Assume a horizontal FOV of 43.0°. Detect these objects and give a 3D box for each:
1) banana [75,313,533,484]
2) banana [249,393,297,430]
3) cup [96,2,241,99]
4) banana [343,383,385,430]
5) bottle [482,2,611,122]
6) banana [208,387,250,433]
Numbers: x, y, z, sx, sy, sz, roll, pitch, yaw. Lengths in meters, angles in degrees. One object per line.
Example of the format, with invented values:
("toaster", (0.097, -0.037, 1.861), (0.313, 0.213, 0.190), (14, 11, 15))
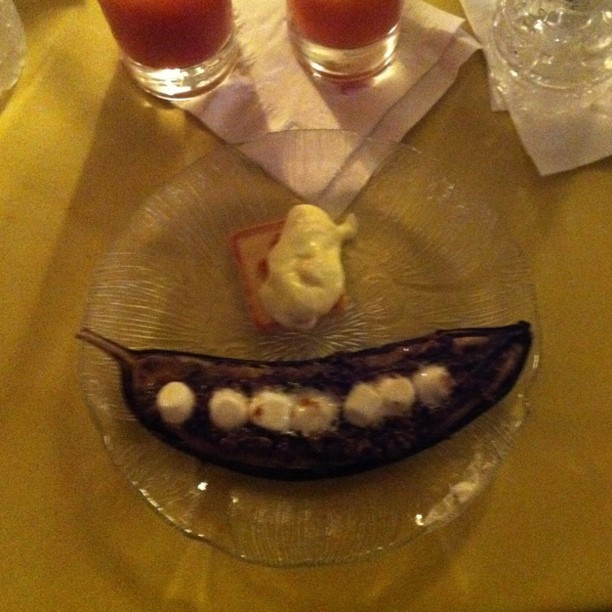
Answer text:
("banana", (-0.015, 0.100, 0.778), (0.517, 0.149, 0.132), (-7, 65, 29))
("banana", (-0.032, 0.099, 0.734), (0.041, 0.010, 0.035), (8, 78, 4))
("cup", (-0.132, -0.260, 0.787), (0.113, 0.148, 0.083), (1, 69, 3))
("banana", (0.056, 0.096, 0.729), (0.043, 0.010, 0.037), (-24, 85, -3))
("bottle", (0.259, -0.266, 0.828), (0.141, 0.041, 0.128), (15, 79, 6))
("banana", (-0.068, 0.099, 0.734), (0.054, 0.012, 0.043), (-20, 71, 37))
